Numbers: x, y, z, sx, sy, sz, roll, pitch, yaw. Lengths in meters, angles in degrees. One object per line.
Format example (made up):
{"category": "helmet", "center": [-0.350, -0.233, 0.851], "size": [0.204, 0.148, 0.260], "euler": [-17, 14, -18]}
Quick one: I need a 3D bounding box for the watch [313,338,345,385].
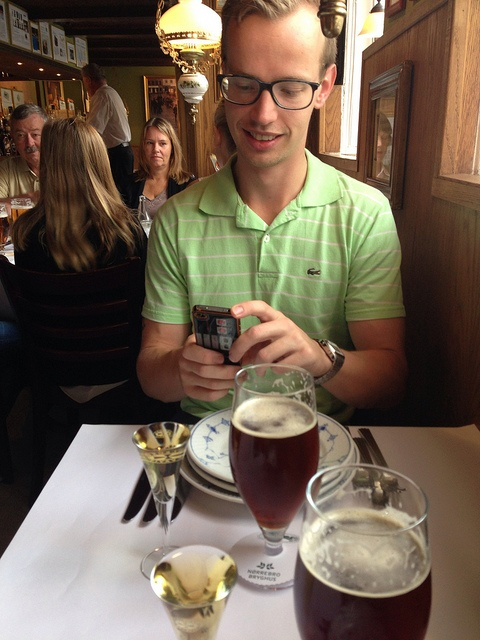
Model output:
{"category": "watch", "center": [0.186, 0.091, 0.940], "size": [0.051, 0.081, 0.076], "euler": [26, 72, 20]}

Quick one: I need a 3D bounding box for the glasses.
{"category": "glasses", "center": [0.066, -0.519, 1.015], "size": [0.216, 0.079, 0.069], "euler": [1, 15, 8]}
